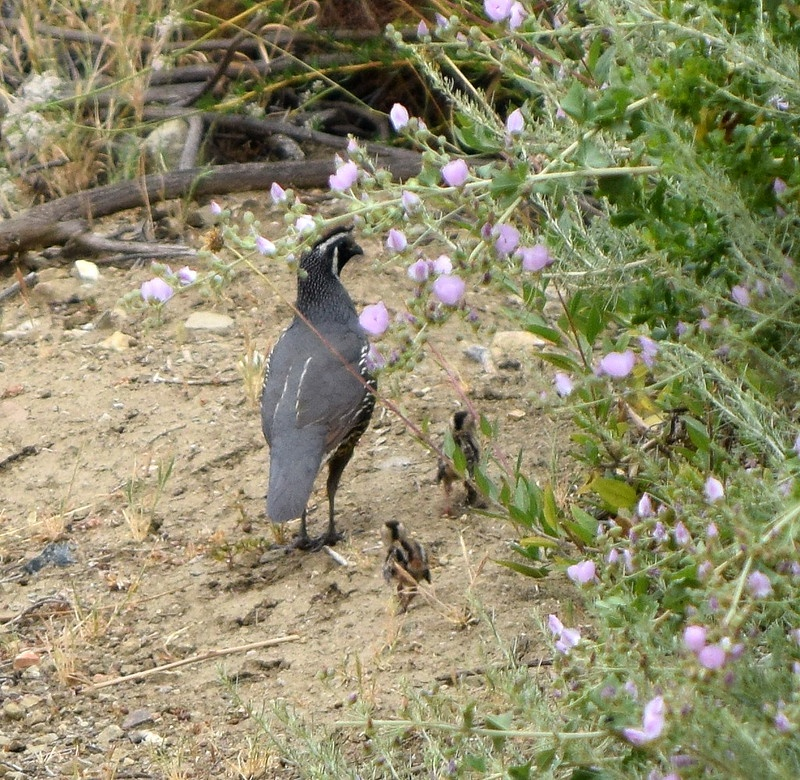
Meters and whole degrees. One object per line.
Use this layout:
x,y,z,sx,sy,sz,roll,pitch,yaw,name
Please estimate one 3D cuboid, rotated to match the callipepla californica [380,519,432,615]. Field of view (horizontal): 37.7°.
0.024,0.580,3.977,0.141,0.414,0.286,3,87,-16,callipepla californica
